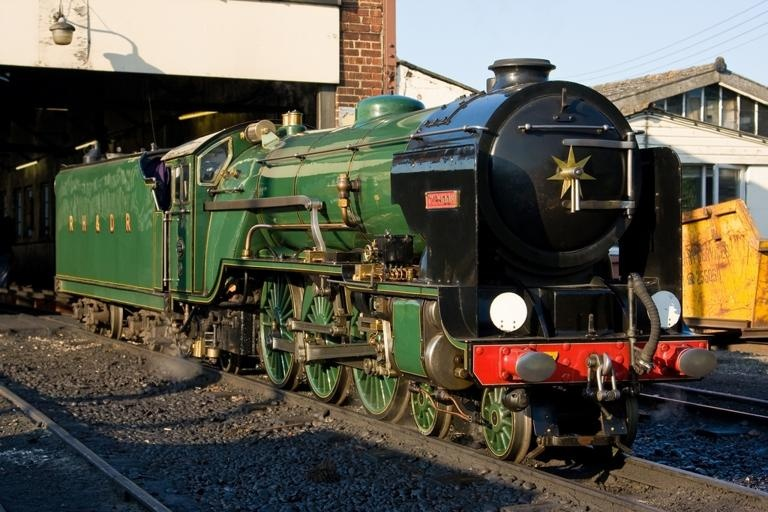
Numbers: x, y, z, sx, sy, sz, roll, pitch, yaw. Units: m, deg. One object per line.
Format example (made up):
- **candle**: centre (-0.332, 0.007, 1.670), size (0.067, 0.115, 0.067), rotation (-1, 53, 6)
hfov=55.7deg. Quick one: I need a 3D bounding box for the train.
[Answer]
- **train**: centre (-1.616, -0.057, 11.970), size (3.742, 3.472, 12.110), rotation (0, 2, -25)
